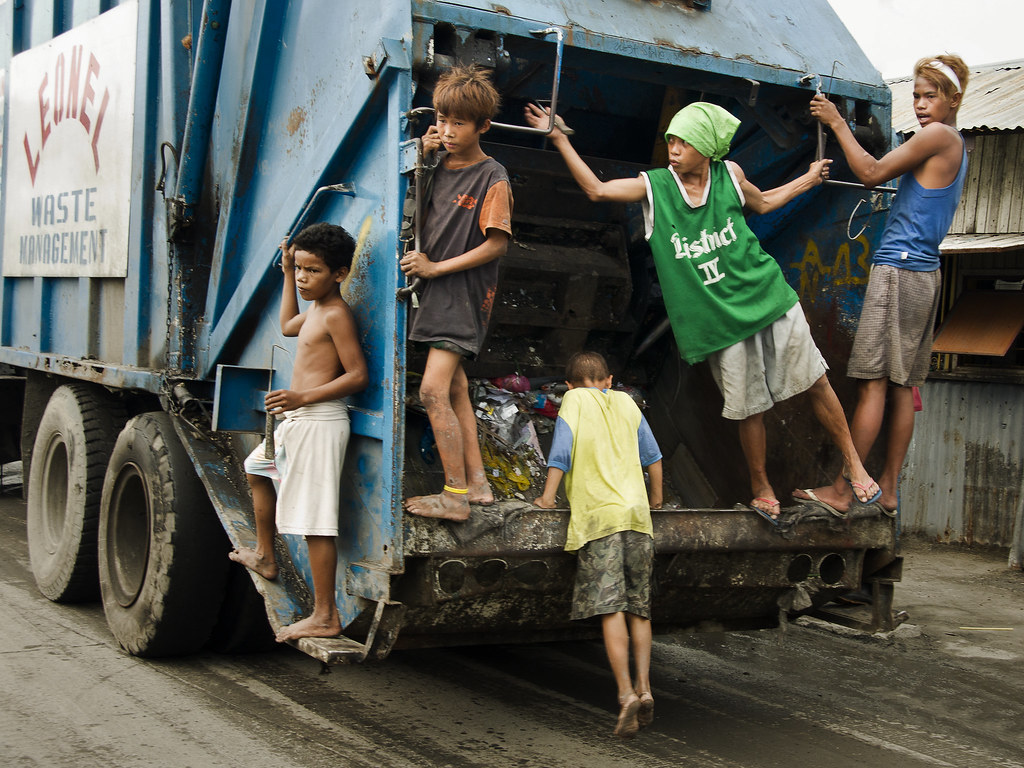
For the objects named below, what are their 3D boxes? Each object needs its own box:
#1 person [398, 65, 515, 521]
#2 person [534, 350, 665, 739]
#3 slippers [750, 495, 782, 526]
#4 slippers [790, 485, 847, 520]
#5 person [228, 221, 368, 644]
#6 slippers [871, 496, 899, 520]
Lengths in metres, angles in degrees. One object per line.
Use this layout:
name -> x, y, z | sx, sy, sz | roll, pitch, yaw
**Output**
person -> -0.246, -0.371, 3.773 | 0.353, 1.802, 0.548 | 4, 3, 38
person -> 0.360, 0.744, 4.046 | 0.506, 1.422, 0.466 | 3, 2, 2
slippers -> 1.129, 0.568, 4.194 | 0.110, 0.049, 0.109 | 4, 10, -30
slippers -> 1.400, 0.546, 4.294 | 0.237, 0.092, 0.099 | 30, 12, 27
person -> -0.903, 0.203, 3.942 | 0.345, 1.740, 0.646 | 1, 3, -33
slippers -> 1.736, 0.578, 4.346 | 0.074, 0.079, 0.176 | 1, 6, -11
